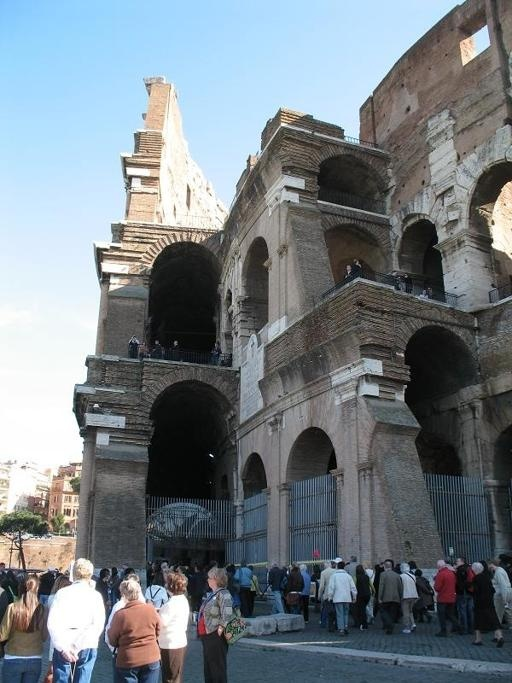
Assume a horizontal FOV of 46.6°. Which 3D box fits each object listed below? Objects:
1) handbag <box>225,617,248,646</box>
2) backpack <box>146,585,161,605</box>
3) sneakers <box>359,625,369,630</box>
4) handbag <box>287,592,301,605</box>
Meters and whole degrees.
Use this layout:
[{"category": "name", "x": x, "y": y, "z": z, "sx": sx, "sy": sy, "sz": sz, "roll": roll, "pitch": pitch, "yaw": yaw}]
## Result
[{"category": "handbag", "x": -0.121, "y": 1.823, "z": 3.713, "sx": 0.142, "sy": 0.182, "sz": 0.244, "roll": 0, "pitch": -17, "yaw": -3}, {"category": "backpack", "x": -0.927, "y": 2.316, "z": 5.365, "sx": 0.117, "sy": 0.169, "sz": 0.345, "roll": 3, "pitch": -17, "yaw": -10}, {"category": "sneakers", "x": 1.692, "y": 4.486, "z": 9.249, "sx": 0.165, "sy": 0.067, "sz": 0.054, "roll": 2, "pitch": -20, "yaw": -21}, {"category": "handbag", "x": 0.693, "y": 4.613, "z": 10.574, "sx": 0.238, "sy": 0.229, "sz": 0.101, "roll": 0, "pitch": -13, "yaw": 10}]
